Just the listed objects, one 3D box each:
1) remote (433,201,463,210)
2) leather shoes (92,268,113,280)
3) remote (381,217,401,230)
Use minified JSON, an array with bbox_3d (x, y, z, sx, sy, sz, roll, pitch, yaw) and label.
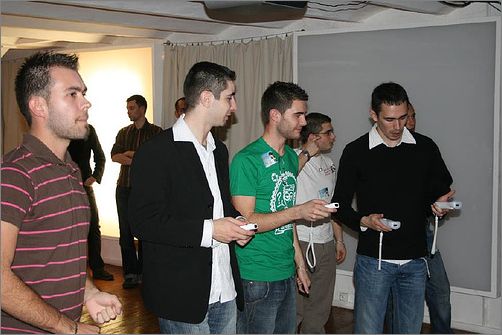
[{"bbox_3d":[1.523,0.285,2.776,0.069,0.053,0.217,-5,3,-39],"label":"remote"},{"bbox_3d":[-2.338,1.673,5.705,0.318,0.135,0.151,1,2,3],"label":"leather shoes"},{"bbox_3d":[1.005,0.395,2.557,0.118,0.072,0.043,12,-23,42],"label":"remote"}]
